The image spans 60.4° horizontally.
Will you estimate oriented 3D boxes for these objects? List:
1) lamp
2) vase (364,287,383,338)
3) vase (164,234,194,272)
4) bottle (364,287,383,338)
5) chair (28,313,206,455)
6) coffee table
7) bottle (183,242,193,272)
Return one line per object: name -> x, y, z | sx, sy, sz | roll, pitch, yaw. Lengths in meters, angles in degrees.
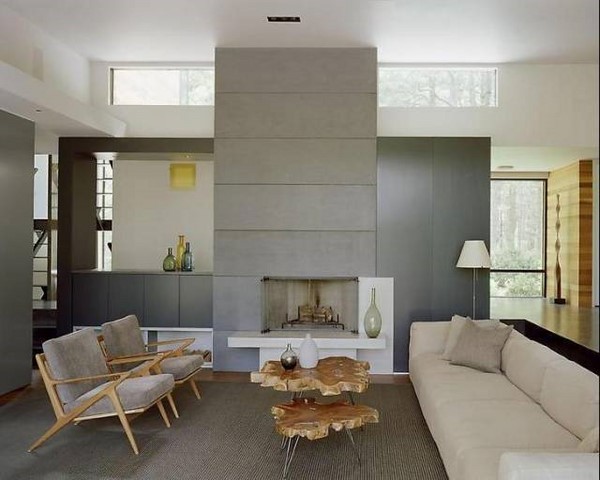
lamp -> 2.231, 0.523, 6.630 | 0.402, 1.043, 0.412 | 2, 8, 14
vase -> 0.947, 0.946, 6.611 | 0.236, 0.599, 0.388 | 1, 8, 9
vase -> -1.822, 0.208, 7.726 | 0.468, 0.738, 0.269 | 1, -2, -8
bottle -> 0.947, 0.946, 6.611 | 0.236, 0.599, 0.388 | 1, 8, 9
chair -> -1.817, 1.723, 5.211 | 0.997, 1.001, 1.702 | 1, -2, 7
coffee table -> 0.200, 1.742, 4.760 | 0.774, 0.331, 1.127 | -2, 6, -1
bottle -> -1.601, 0.249, 7.347 | 0.133, 0.362, 0.665 | -2, 9, -13
